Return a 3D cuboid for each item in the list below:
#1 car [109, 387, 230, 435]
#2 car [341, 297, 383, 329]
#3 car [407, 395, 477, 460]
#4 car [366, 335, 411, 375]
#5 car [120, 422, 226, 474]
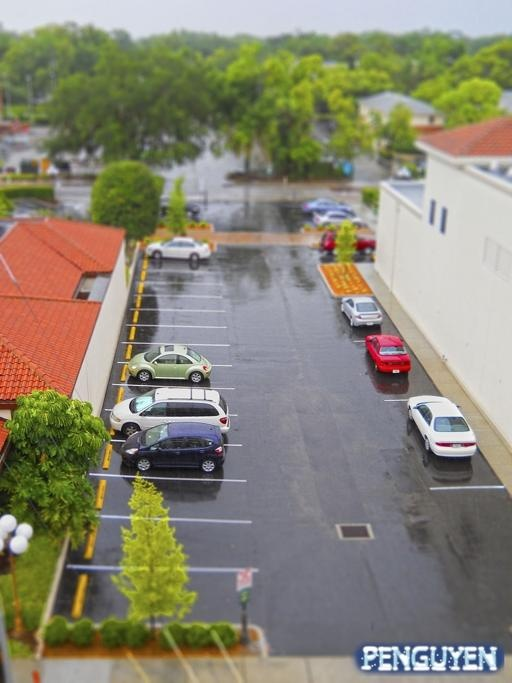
[{"bbox_3d":[-2.904,2.123,20.224,3.400,1.289,1.778,3,23,-4],"label":"car"},{"bbox_3d":[5.300,-1.424,30.155,1.349,1.203,2.194,-6,20,-8],"label":"car"},{"bbox_3d":[6.097,2.828,19.809,1.308,1.186,2.385,-5,20,-6],"label":"car"},{"bbox_3d":[5.584,0.576,25.482,1.301,1.263,2.115,-4,20,-3],"label":"car"},{"bbox_3d":[-2.376,3.116,18.426,2.584,1.114,1.534,4,27,-5],"label":"car"}]
